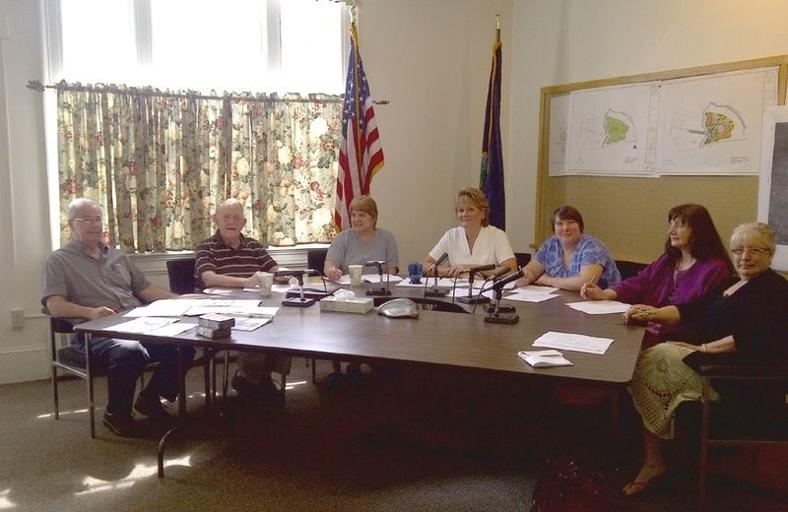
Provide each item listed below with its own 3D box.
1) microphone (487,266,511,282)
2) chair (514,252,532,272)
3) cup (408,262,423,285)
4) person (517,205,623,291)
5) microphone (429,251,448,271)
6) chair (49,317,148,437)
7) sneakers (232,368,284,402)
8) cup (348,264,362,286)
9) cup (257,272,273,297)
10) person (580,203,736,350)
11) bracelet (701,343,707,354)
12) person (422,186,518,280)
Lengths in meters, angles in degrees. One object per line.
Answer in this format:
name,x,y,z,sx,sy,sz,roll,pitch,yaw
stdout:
microphone,0.758,0.136,4.405,0.271,0.098,0.070,-13,15,-40
chair,1.205,0.064,5.653,0.157,0.230,0.186,2,1,7
cup,0.163,0.151,4.705,0.132,0.150,0.134,1,2,0
person,1.350,0.014,4.717,0.746,0.592,0.737,6,-5,-27
microphone,0.323,0.055,4.310,0.066,0.068,0.254,8,-24,-8
chair,-2.207,0.782,4.527,0.597,0.882,0.579,5,8,26
sneakers,-1.073,1.068,4.791,0.332,0.125,0.254,9,5,24
cup,-0.292,0.149,4.655,0.131,0.134,0.129,0,6,0
cup,-0.918,0.222,4.413,0.141,0.147,0.139,1,1,0
person,1.907,0.096,4.647,1.091,1.225,0.803,-1,2,7
bracelet,1.879,0.570,3.667,0.038,0.026,0.065,-7,11,9
person,0.568,-0.107,4.968,0.929,0.901,0.701,0,4,18
